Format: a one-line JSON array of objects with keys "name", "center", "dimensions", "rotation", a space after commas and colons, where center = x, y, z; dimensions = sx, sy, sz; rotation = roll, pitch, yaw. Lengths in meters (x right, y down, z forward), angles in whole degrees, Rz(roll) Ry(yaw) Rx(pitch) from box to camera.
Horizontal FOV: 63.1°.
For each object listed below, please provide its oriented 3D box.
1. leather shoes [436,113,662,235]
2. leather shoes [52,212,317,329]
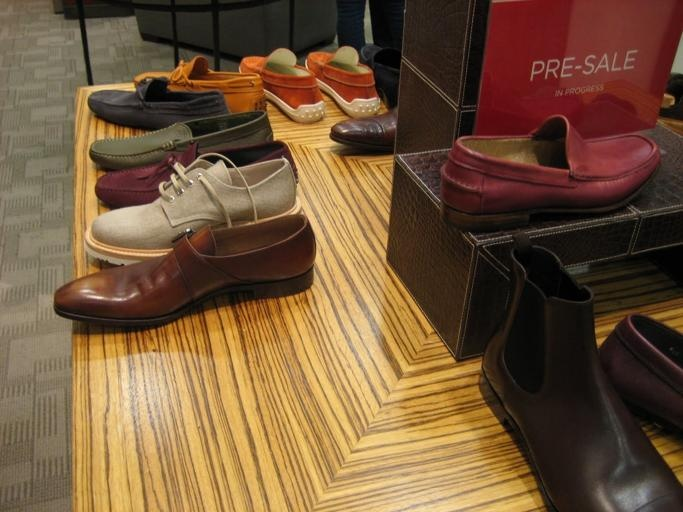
[{"name": "leather shoes", "center": [0.287, -0.118, 0.742], "dimensions": [0.335, 0.111, 0.114], "rotation": [-10, 34, -14]}, {"name": "leather shoes", "center": [-0.232, 0.022, 0.854], "dimensions": [0.395, 0.105, 0.118], "rotation": [-9, 23, -16]}]
